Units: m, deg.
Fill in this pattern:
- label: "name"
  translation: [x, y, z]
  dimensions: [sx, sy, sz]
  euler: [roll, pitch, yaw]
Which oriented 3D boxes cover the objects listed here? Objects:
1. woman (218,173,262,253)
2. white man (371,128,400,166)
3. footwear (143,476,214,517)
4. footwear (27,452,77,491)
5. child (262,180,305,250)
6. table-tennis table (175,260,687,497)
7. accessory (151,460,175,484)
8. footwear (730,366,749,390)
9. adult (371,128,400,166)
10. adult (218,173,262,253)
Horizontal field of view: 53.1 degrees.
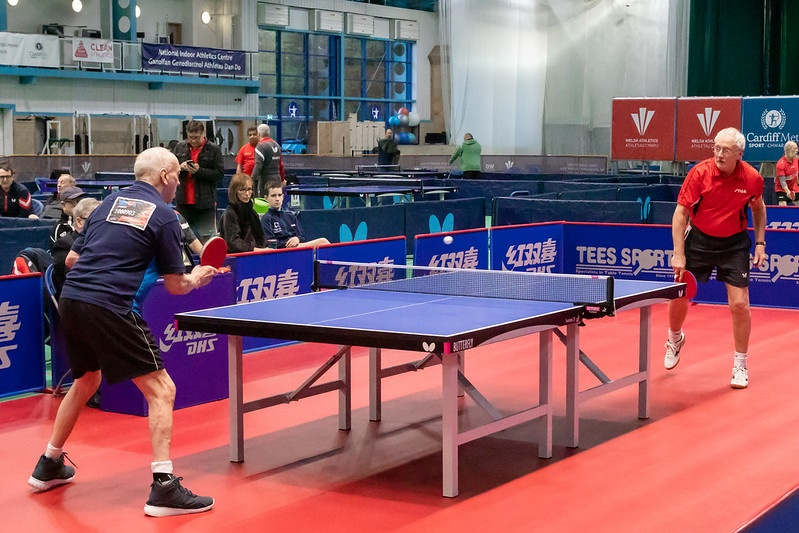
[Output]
- label: "woman"
  translation: [-1.742, -0.592, 8.886]
  dimensions: [0.479, 0.881, 0.701]
  euler: [-3, 11, -11]
- label: "white man"
  translation: [-0.327, -3.149, 22.440]
  dimensions: [0.614, 1.376, 0.583]
  euler: [11, 25, 14]
- label: "footwear"
  translation: [-1.470, 1.517, 5.386]
  dimensions: [0.536, 0.323, 0.191]
  euler: [0, 2, -14]
- label: "footwear"
  translation: [-2.386, 1.416, 5.621]
  dimensions: [0.154, 0.201, 0.420]
  euler: [7, 9, 18]
- label: "child"
  translation: [-1.394, -0.630, 9.587]
  dimensions: [0.536, 0.765, 0.695]
  euler: [3, 12, 17]
- label: "table-tennis table"
  translation: [0.337, 0.723, 6.290]
  dimensions: [3.722, 1.397, 2.017]
  euler: [-5, 12, -23]
- label: "accessory"
  translation: [-1.540, 1.333, 5.209]
  dimensions: [0.140, 0.148, 0.124]
  euler: [-1, 1, -14]
- label: "footwear"
  translation: [3.179, 1.023, 7.465]
  dimensions: [0.154, 0.175, 0.258]
  euler: [5, 12, 24]
- label: "adult"
  translation: [-0.336, -3.152, 22.440]
  dimensions: [0.584, 1.367, 0.599]
  euler: [10, 25, 12]
- label: "adult"
  translation: [-1.746, -0.607, 8.957]
  dimensions: [0.468, 0.881, 0.669]
  euler: [7, 13, 32]
